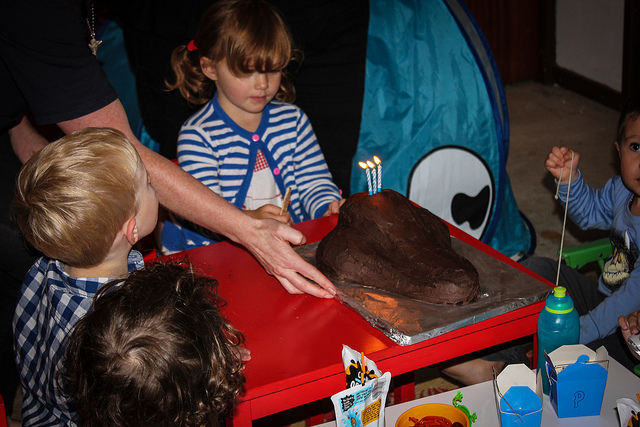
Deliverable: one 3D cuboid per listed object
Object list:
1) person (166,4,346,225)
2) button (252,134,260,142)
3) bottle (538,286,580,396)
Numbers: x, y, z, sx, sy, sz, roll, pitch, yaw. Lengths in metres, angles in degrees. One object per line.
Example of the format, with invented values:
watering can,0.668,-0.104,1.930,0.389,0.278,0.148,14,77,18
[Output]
person,-0.282,-0.408,2.156,0.491,0.765,0.590,-27,52,-29
button,-0.259,-0.300,2.164,0.030,0.024,0.006,-19,9,-23
bottle,0.608,0.331,1.362,0.117,0.265,0.141,-11,8,23
